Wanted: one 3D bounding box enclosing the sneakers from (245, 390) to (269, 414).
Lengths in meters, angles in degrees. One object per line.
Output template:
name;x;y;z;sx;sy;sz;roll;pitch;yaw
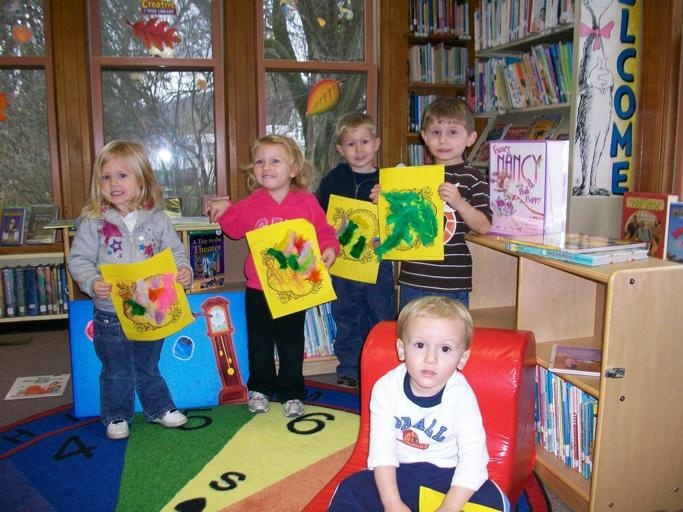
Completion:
sneakers;-0.435;0.757;2.745;0.094;0.072;0.174;3;-7;-10

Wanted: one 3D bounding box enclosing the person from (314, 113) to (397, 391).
person;0.156;-0.050;3.307;0.600;1.914;0.586;-4;42;6

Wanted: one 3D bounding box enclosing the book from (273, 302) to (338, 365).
book;-0.212;0.489;3.401;0.279;0.397;0.287;-6;2;-12

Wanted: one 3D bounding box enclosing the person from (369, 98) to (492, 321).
person;0.478;-0.022;2.721;0.535;1.474;0.369;8;16;32

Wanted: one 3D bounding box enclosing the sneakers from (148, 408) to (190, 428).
sneakers;-0.880;0.816;2.689;0.188;0.083;0.075;-2;1;15

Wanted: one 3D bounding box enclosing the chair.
chair;0.514;0.524;2.255;0.573;0.604;0.836;1;1;35

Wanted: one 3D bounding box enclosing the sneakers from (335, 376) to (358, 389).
sneakers;0.035;0.733;3.062;0.130;0.060;0.050;14;0;14

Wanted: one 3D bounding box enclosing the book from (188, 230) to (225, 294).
book;-0.817;0.038;3.149;0.045;0.456;0.317;-4;2;45
